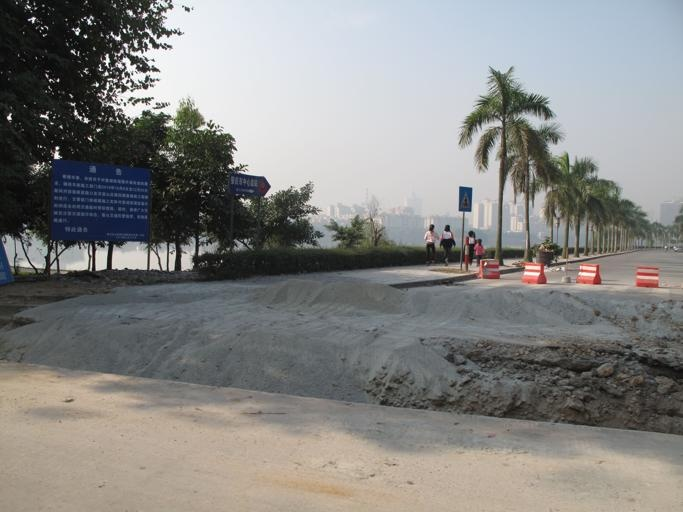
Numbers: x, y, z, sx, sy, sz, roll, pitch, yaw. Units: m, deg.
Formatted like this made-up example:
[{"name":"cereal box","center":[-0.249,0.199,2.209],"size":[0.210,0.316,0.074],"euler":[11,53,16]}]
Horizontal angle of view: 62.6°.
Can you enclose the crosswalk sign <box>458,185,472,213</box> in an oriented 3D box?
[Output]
[{"name":"crosswalk sign","center":[5.059,-2.304,22.880],"size":[0.542,0.936,0.370],"euler":[2,6,-1]}]
